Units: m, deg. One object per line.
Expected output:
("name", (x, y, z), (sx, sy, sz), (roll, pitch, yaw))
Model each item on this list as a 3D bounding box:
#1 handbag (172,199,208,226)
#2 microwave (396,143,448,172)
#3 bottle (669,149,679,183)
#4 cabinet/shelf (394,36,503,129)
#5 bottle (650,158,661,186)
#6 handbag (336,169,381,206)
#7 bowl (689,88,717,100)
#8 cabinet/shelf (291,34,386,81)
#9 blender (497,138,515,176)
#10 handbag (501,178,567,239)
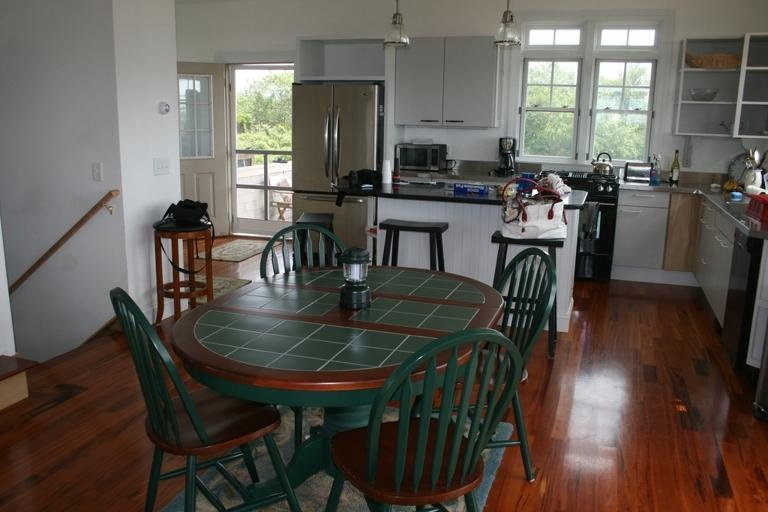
("handbag", (-1.718, -0.388, 4.678), (0.291, 0.219, 0.172), (-3, 14, -14))
("microwave", (0.479, -1.269, 6.782), (0.550, 0.319, 0.391), (4, 10, 21))
("bottle", (3.398, -1.044, 6.161), (0.105, 0.390, 0.312), (7, 15, 28))
("cabinet/shelf", (0.815, -2.160, 6.440), (1.108, 0.943, 0.429), (2, 7, 14))
("bottle", (3.168, -1.013, 6.178), (0.117, 0.314, 0.412), (7, 15, 25))
("handbag", (-0.255, -0.713, 5.163), (0.415, 0.105, 0.431), (-15, 22, -16))
("bowl", (3.617, -1.826, 5.984), (0.297, 0.141, 0.194), (6, 15, 22))
("cabinet/shelf", (-0.584, -2.631, 7.088), (1.176, 0.554, 0.662), (1, 13, 1))
("blender", (1.556, -1.270, 6.698), (0.233, 0.465, 0.362), (3, 14, 12))
("handbag", (1.176, -0.414, 4.524), (0.658, 0.595, 0.434), (-1, 12, 4))
